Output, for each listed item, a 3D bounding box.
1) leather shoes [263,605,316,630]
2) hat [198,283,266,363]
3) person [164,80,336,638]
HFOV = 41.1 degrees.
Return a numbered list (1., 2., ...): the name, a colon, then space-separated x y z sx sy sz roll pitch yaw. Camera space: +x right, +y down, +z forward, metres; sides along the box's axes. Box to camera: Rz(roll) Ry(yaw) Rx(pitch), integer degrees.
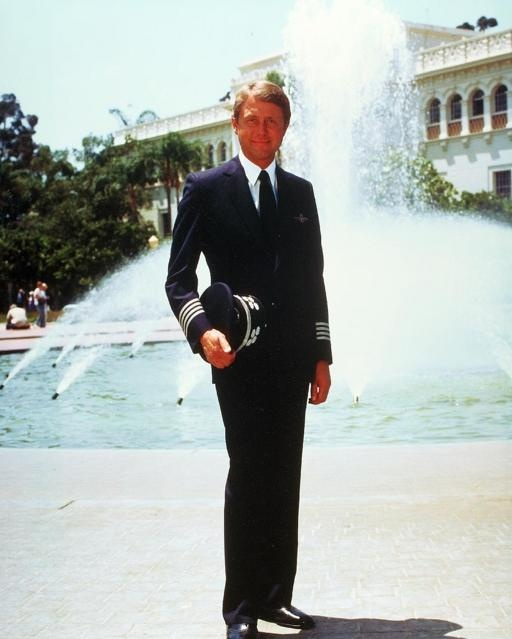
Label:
1. leather shoes: 0.110 0.982 2.250 0.178 0.073 0.062 -3 -7 24
2. hat: -0.095 0.008 2.098 0.137 0.218 0.192 -2 12 -45
3. person: -0.010 0.115 2.295 0.579 1.814 0.305 0 -2 -38
